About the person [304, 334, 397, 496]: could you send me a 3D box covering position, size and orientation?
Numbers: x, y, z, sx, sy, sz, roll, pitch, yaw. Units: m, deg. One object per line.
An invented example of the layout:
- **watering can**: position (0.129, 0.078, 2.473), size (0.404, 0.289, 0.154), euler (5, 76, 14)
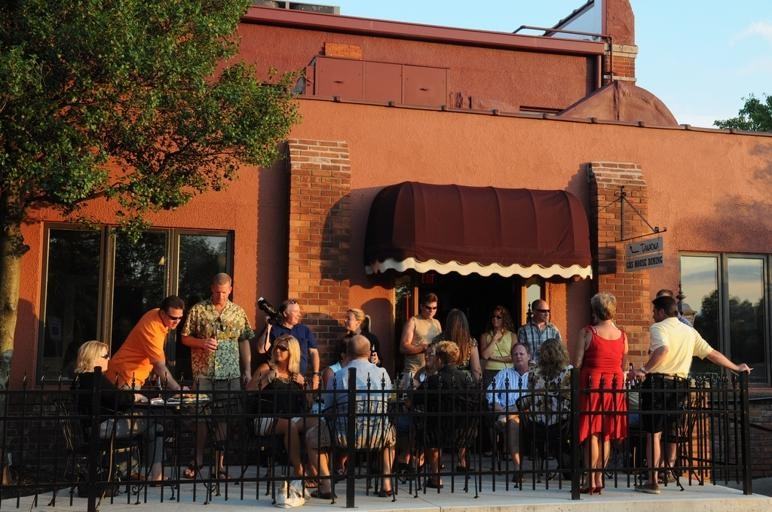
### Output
- **person**: position (-0.512, 2.598, 23.007), size (1.358, 2.634, 1.107), euler (-2, -10, 0)

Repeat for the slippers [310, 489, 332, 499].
- **slippers**: position (-1.013, 3.857, 22.965), size (0.363, 0.131, 0.135), euler (4, -5, 24)

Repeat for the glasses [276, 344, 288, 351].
- **glasses**: position (-1.659, 1.501, 23.212), size (0.171, 0.100, 0.034), euler (-1, -10, -5)

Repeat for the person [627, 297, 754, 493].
- **person**: position (4.715, 2.255, 23.673), size (1.158, 3.299, 1.537), euler (-9, -12, 34)

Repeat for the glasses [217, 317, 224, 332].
- **glasses**: position (-2.867, 1.215, 24.977), size (0.151, 0.215, 0.056), euler (-2, 0, -15)

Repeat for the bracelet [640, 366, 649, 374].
- **bracelet**: position (4.321, 1.922, 23.828), size (0.171, 0.041, 0.170), euler (11, -38, 1)

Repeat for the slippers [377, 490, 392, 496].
- **slippers**: position (-0.001, 3.845, 22.980), size (0.232, 0.122, 0.133), euler (-2, -10, -1)

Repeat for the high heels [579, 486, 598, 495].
- **high heels**: position (3.349, 3.844, 23.278), size (0.330, 0.129, 0.150), euler (-3, -10, 7)

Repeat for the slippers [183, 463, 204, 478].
- **slippers**: position (-3.163, 3.564, 23.397), size (0.231, 0.163, 0.590), euler (-3, -19, 3)

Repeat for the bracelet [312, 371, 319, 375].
- **bracelet**: position (-1.221, 2.091, 25.193), size (0.075, 0.055, 0.103), euler (1, -21, -2)

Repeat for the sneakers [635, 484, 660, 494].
- **sneakers**: position (4.298, 3.829, 23.372), size (0.350, 0.131, 0.147), euler (0, -6, 35)

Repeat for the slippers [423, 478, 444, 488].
- **slippers**: position (0.794, 3.763, 23.479), size (0.130, 0.141, 0.358), euler (5, 1, -45)
